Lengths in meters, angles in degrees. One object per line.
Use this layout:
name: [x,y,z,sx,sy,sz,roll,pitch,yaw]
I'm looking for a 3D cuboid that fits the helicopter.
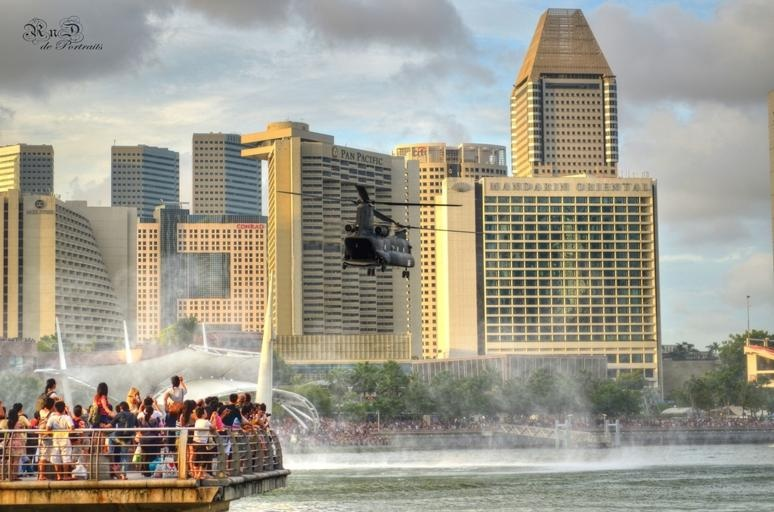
helicopter: [-1.566,-5.931,475.101,8.771,19.853,15.580,-12,-14,43]
